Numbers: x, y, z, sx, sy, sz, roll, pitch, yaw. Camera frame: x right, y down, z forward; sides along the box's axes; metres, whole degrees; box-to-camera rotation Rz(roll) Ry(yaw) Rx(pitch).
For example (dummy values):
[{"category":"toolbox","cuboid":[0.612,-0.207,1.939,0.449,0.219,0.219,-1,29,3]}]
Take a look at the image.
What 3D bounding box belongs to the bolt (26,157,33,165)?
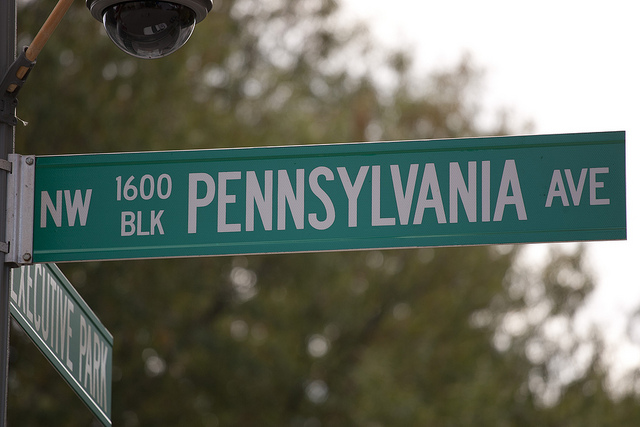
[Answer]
[{"category":"bolt","cuboid":[-2.498,-0.452,11.981,0.055,0.009,0.059,-2,-77,-1]}]
